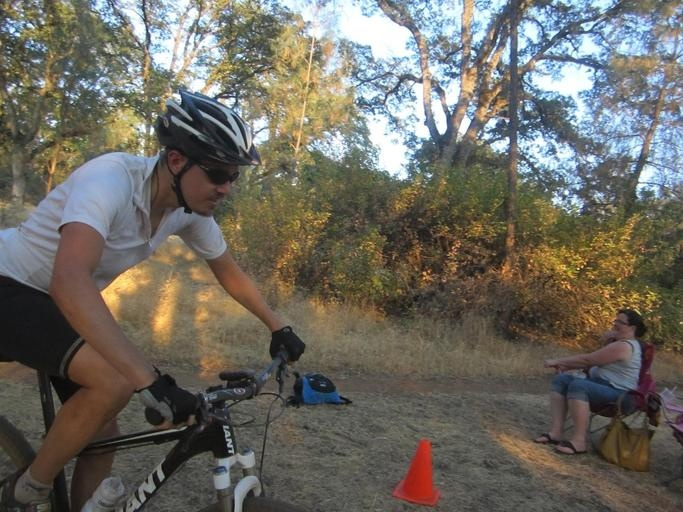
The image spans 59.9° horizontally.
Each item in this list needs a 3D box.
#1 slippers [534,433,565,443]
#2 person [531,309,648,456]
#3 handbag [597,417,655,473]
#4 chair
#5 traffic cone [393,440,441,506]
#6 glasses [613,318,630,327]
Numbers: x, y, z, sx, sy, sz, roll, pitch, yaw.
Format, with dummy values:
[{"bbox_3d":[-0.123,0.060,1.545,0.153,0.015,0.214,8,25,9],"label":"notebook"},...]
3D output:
[{"bbox_3d":[2.529,2.219,7.241,0.334,0.117,0.121,2,-14,1],"label":"slippers"},{"bbox_3d":[3.557,1.802,8.491,1.075,1.859,0.882,21,-21,6],"label":"person"},{"bbox_3d":[3.375,2.271,7.065,0.515,0.542,0.262,3,-38,36],"label":"handbag"},{"bbox_3d":[3.527,1.762,7.427,0.662,1.386,0.681,11,9,30],"label":"chair"},{"bbox_3d":[0.734,1.989,5.584,0.433,0.539,0.369,7,8,7],"label":"traffic cone"},{"bbox_3d":[3.571,0.855,7.572,0.086,0.050,0.085,17,3,3],"label":"glasses"}]
